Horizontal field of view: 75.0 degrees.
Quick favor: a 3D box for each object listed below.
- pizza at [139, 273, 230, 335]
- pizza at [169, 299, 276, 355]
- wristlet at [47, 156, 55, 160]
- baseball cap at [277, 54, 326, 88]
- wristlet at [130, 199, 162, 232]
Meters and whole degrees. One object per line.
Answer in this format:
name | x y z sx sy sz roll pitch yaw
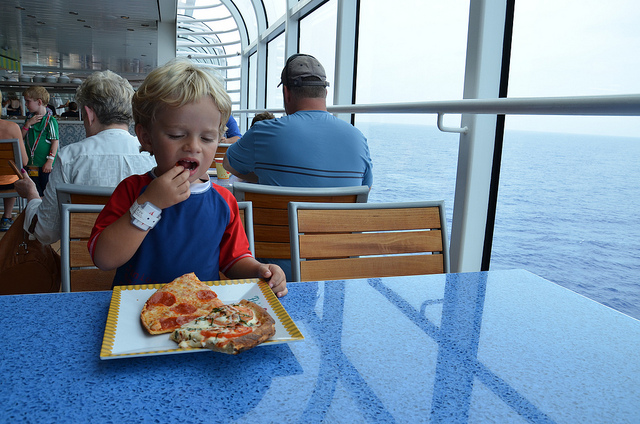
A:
pizza | -0.229 0.145 0.664 0.084 0.011 0.095 28 36 35
pizza | -0.128 0.162 0.628 0.119 0.141 0.028 28 25 -33
wristlet | -2.611 -0.538 4.068 0.046 0.025 0.042 4 5 9
baseball cap | -0.093 -0.709 2.091 0.272 0.157 0.296 -4 19 -9
wristlet | -0.339 0.010 0.835 0.052 0.039 0.066 22 -36 -28
